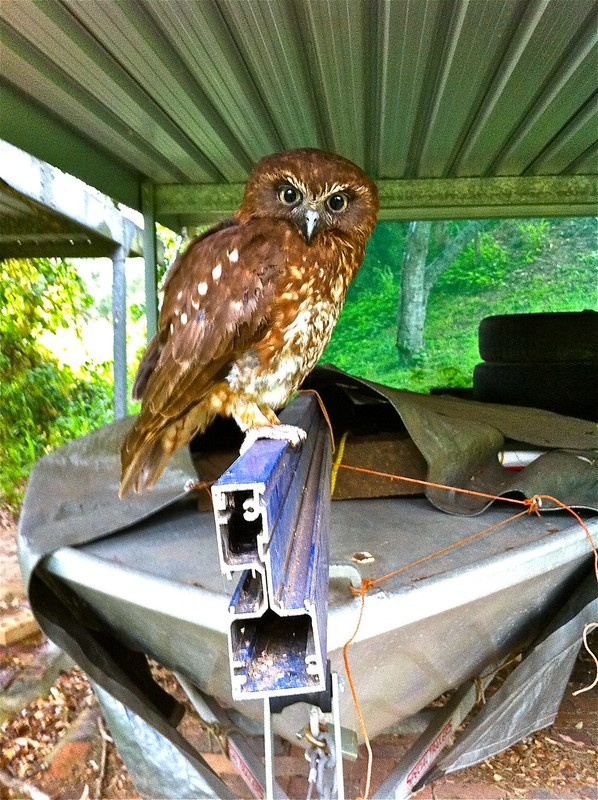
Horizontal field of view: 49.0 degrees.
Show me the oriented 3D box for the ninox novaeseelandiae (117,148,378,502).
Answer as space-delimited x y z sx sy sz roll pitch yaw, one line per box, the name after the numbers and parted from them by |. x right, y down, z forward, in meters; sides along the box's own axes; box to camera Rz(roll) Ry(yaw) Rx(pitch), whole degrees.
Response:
-0.149 -0.266 2.025 0.738 1.058 0.562 1 5 5 | ninox novaeseelandiae
